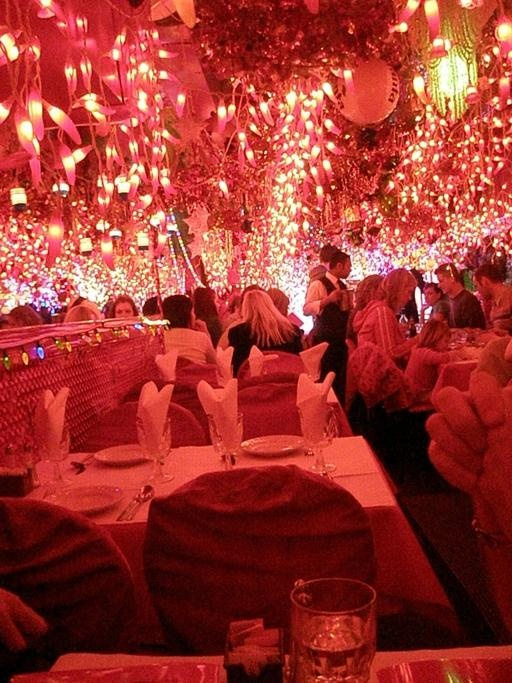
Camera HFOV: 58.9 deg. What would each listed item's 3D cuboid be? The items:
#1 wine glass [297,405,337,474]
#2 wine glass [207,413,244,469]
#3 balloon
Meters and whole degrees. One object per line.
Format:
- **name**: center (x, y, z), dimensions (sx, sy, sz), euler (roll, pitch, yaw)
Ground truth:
- **wine glass**: center (0.219, 0.321, 1.591), dimensions (0.117, 0.281, 0.107), euler (-2, 11, 12)
- **wine glass**: center (-0.102, 0.366, 1.612), dimensions (0.127, 0.198, 0.121), euler (-2, -9, 10)
- **balloon**: center (0.844, -1.878, 3.365), dimensions (0.267, 0.469, 0.471), euler (24, -32, -38)
